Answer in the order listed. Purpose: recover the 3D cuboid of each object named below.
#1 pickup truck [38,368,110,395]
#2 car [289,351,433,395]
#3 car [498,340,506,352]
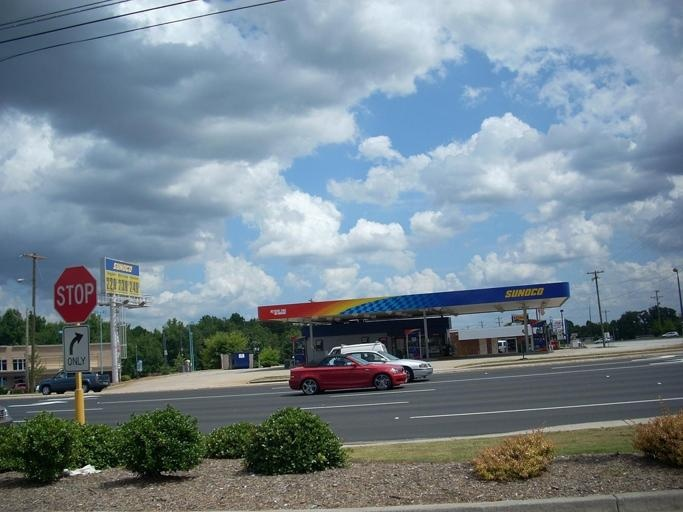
[{"bbox_3d":[-16.116,7.667,44.880,3.431,1.332,2.513,-8,-9,20],"label":"pickup truck"},{"bbox_3d":[0.154,4.758,29.439,4.111,1.438,1.904,-7,-9,11],"label":"car"},{"bbox_3d":[17.072,9.702,79.048,1.025,1.011,1.839,-4,-13,13],"label":"car"}]
